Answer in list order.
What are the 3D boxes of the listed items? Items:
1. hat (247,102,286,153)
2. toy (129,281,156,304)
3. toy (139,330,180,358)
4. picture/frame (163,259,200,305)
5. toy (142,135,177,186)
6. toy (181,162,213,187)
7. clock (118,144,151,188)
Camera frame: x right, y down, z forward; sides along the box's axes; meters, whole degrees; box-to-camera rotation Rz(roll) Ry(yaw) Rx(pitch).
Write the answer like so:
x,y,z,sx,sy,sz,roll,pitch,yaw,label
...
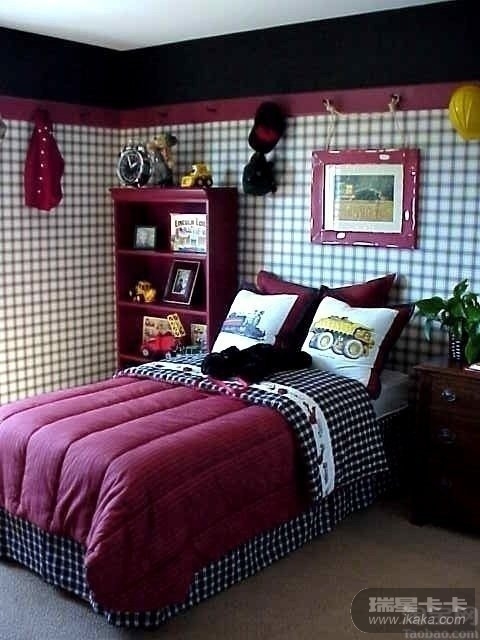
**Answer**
x,y,z,sx,sy,sz,roll,pitch,yaw,label
0.186,-1.197,3.266,0.223,0.322,0.078,31,19,18,hat
-0.742,-0.207,3.924,0.164,0.137,0.197,-2,13,-19,toy
-0.583,0.191,3.725,0.171,0.090,0.247,-15,13,22,toy
-0.417,-0.271,3.701,0.016,0.378,0.312,18,-4,-40,picture/frame
-0.562,-1.147,3.642,0.247,0.364,0.142,1,12,-3,toy
-0.305,-0.977,3.470,0.156,0.164,0.228,9,13,43,toy
-0.750,-1.112,3.653,0.276,0.323,0.134,-1,-1,42,clock
